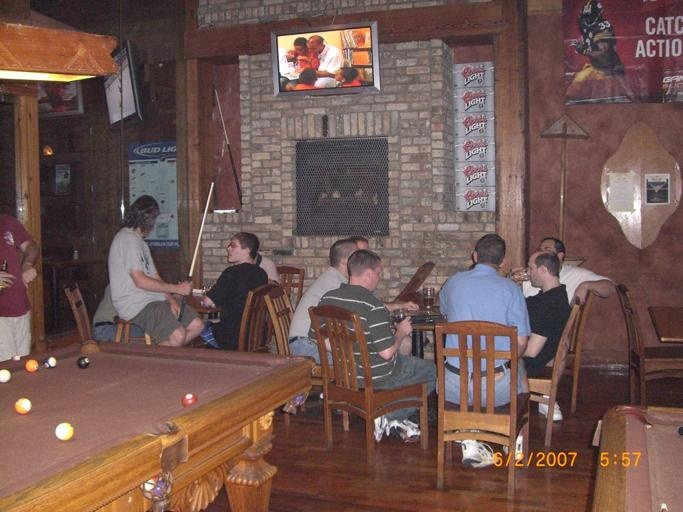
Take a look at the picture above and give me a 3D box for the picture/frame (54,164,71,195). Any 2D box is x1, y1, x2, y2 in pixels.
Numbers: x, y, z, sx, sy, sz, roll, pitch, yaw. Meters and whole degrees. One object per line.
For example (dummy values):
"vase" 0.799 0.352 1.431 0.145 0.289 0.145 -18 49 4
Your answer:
"picture/frame" -2.895 -0.793 7.056 0.110 0.294 0.268 2 10 16

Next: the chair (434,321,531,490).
"chair" 0.968 0.950 4.690 0.627 1.170 0.607 2 10 14

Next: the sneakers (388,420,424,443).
"sneakers" 0.498 1.358 5.301 0.248 0.121 0.131 -1 6 21

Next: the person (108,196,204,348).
"person" -1.610 0.312 5.959 0.839 1.600 0.637 0 2 -10

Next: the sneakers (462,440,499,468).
"sneakers" 0.956 1.414 4.884 0.256 0.248 0.159 -3 -39 -5

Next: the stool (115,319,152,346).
"stool" -1.755 0.644 5.750 0.289 0.210 0.174 -4 10 -18

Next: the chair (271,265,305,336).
"chair" -0.658 0.492 7.819 0.468 0.736 0.477 1 1 -14

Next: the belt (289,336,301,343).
"belt" -0.408 0.706 5.779 0.060 0.059 0.016 13 20 18

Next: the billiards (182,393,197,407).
"billiards" -0.757 0.711 3.402 0.056 0.057 0.055 -12 9 -25

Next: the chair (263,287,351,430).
"chair" -0.239 0.949 5.850 0.838 1.295 0.836 6 -16 -4

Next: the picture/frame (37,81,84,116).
"picture/frame" -2.987 -1.663 7.178 0.446 0.417 0.039 -5 -6 -6

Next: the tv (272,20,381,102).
"tv" -0.137 -2.100 7.375 0.920 0.553 0.072 1 15 16

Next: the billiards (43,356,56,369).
"billiards" -1.677 0.612 3.917 0.065 0.051 0.058 -4 10 -18

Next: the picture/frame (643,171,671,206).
"picture/frame" 3.288 -0.697 7.094 0.338 0.458 0.060 2 -2 15

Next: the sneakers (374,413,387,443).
"sneakers" 0.305 1.326 5.274 0.160 0.209 0.051 3 -1 -40

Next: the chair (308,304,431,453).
"chair" 0.196 0.894 5.102 0.851 1.145 0.611 1 10 10

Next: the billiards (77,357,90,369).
"billiards" -1.475 0.609 3.892 0.063 0.068 0.059 -4 10 -2

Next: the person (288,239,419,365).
"person" 0.274 0.489 5.817 1.109 1.147 0.734 -13 0 -19

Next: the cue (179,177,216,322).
"cue" -1.588 -0.131 7.875 0.114 0.112 2.916 22 25 -34

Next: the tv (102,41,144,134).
"tv" -2.438 -1.891 7.505 0.197 0.911 0.451 2 10 16

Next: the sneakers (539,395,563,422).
"sneakers" 1.730 1.262 5.606 0.169 0.185 0.468 3 -13 5
